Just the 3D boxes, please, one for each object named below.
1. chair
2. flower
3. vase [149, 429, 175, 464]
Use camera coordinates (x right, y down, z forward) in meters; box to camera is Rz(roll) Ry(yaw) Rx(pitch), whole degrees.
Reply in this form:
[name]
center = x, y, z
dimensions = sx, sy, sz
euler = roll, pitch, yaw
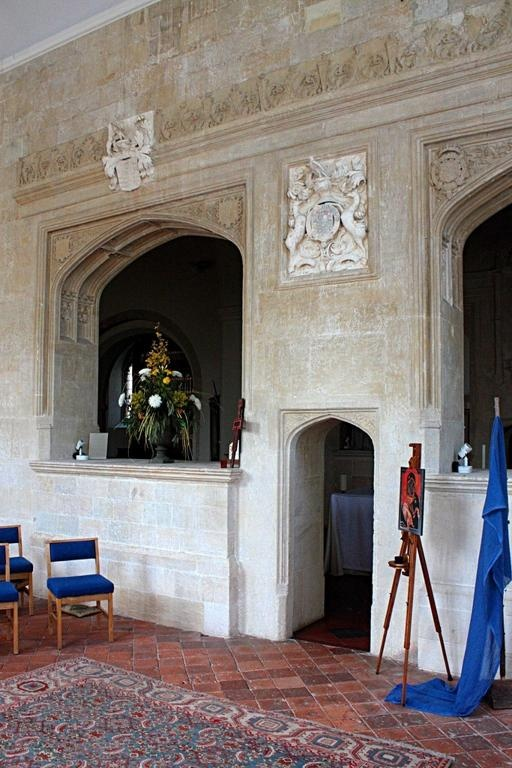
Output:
[chair]
center = -1.727, 1.824, 6.034
dimensions = 0.860, 0.653, 0.326
euler = 1, -6, -30
[flower]
center = -1.017, 0.128, 7.133
dimensions = 0.805, 1.367, 0.932
euler = 2, -5, -11
[vase]
center = -0.956, 0.660, 7.044
dimensions = 0.280, 0.327, 0.292
euler = 0, -8, 2
